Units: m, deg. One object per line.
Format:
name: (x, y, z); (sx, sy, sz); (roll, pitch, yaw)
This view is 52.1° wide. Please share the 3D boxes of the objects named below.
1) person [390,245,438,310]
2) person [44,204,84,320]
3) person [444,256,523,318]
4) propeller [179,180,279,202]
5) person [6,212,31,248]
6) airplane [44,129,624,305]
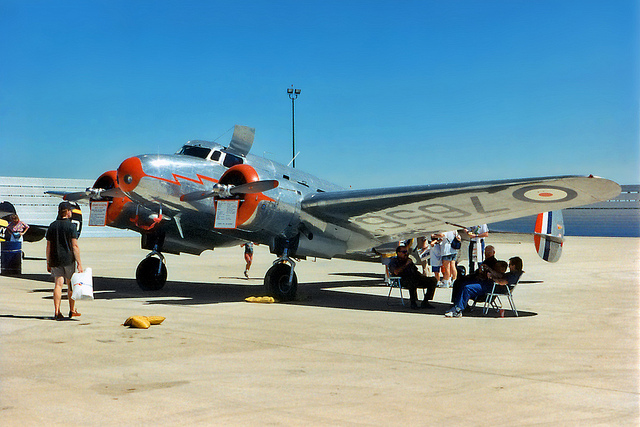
person: (2.127, 1.516, 15.311); (1.124, 1.391, 0.631); (4, 7, 19)
person: (-5.154, 0.974, 13.121); (0.643, 2.319, 1.180); (-1, 8, -22)
person: (3.570, 1.547, 14.286); (1.565, 1.392, 0.659); (6, 10, 8)
propeller: (-2.102, -0.531, 15.267); (3.071, 0.379, 0.383); (-1, 28, 14)
person: (-9.696, 0.497, 20.743); (0.494, 0.906, 0.623); (-2, 8, -24)
airplane: (-0.488, 0.087, 16.168); (11.038, 4.320, 3.394); (2, 7, 12)
